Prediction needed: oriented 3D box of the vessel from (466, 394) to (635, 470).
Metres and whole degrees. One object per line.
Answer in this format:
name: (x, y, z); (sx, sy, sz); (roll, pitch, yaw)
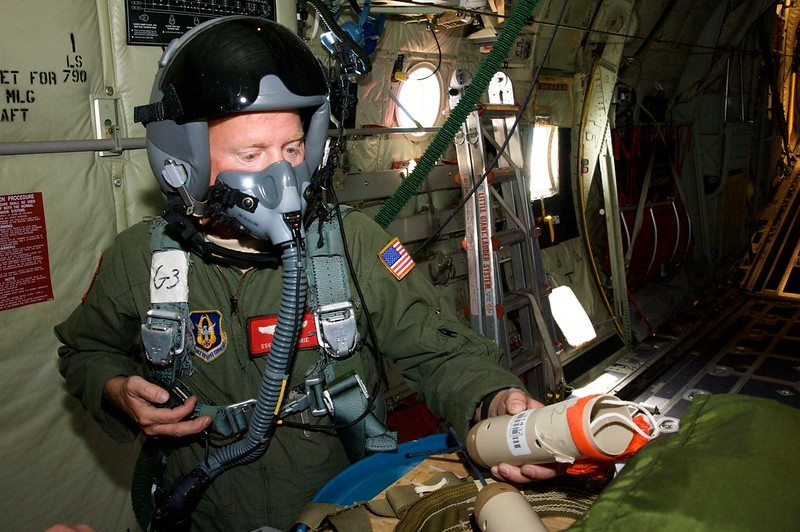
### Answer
vessel: (0.468, 0.569, 1.857); (0.573, 0.210, 0.206); (-13, 19, 43)
